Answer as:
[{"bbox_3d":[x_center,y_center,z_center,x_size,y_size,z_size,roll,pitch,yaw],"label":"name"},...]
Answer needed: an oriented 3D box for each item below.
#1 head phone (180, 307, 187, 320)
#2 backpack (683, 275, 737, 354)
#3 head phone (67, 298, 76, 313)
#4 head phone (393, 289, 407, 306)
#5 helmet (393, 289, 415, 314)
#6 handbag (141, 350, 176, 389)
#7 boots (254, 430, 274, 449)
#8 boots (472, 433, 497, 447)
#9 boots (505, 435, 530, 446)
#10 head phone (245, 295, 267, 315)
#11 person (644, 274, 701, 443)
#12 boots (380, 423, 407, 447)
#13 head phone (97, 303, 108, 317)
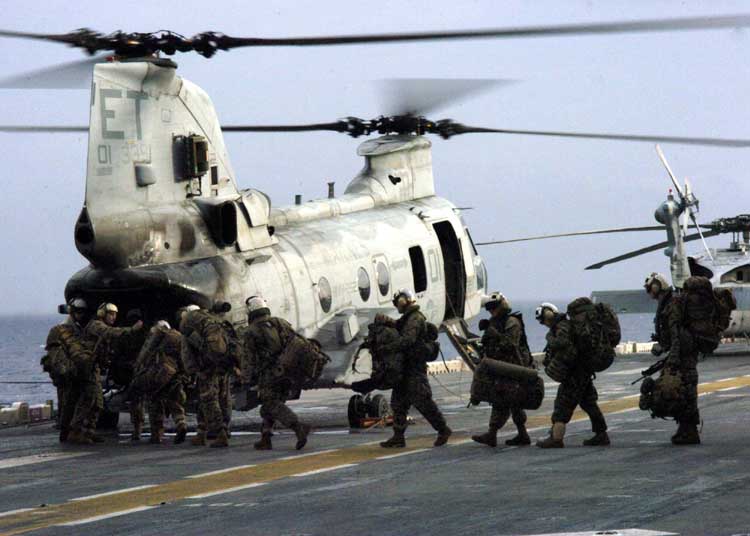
[{"bbox_3d":[-3.028,0.711,14.637,0.132,0.194,0.397,-4,-2,-12],"label":"head phone"},{"bbox_3d":[4.670,0.670,13.488,0.873,1.069,0.505,1,4,-30],"label":"backpack"},{"bbox_3d":[-5.049,0.621,15.440,0.108,0.184,0.168,19,17,13],"label":"head phone"},{"bbox_3d":[0.388,0.467,14.380,0.244,0.199,0.175,-1,-38,30],"label":"head phone"},{"bbox_3d":[0.372,0.518,14.460,0.460,0.381,0.345,-2,-14,22],"label":"helmet"},{"bbox_3d":[-3.461,1.633,14.848,0.580,0.603,0.175,-4,-2,-12],"label":"handbag"},{"bbox_3d":[-1.689,2.623,14.235,0.398,0.325,0.196,2,-3,19],"label":"boots"},{"bbox_3d":[1.636,2.558,13.875,0.340,0.149,0.346,-4,-2,8],"label":"boots"},{"bbox_3d":[2.162,2.591,14.089,0.380,0.132,0.385,-4,-2,7],"label":"boots"},{"bbox_3d":[-1.847,0.558,14.298,0.306,0.341,0.345,-4,-7,-8],"label":"head phone"},{"bbox_3d":[4.244,1.284,13.323,0.744,2.165,0.904,-6,-2,17],"label":"person"},{"bbox_3d":[0.278,2.530,13.973,0.410,0.236,0.381,-4,-2,-9],"label":"boots"},{"bbox_3d":[-4.439,0.663,15.091,0.131,0.178,0.207,-3,-2,-35],"label":"head phone"}]
